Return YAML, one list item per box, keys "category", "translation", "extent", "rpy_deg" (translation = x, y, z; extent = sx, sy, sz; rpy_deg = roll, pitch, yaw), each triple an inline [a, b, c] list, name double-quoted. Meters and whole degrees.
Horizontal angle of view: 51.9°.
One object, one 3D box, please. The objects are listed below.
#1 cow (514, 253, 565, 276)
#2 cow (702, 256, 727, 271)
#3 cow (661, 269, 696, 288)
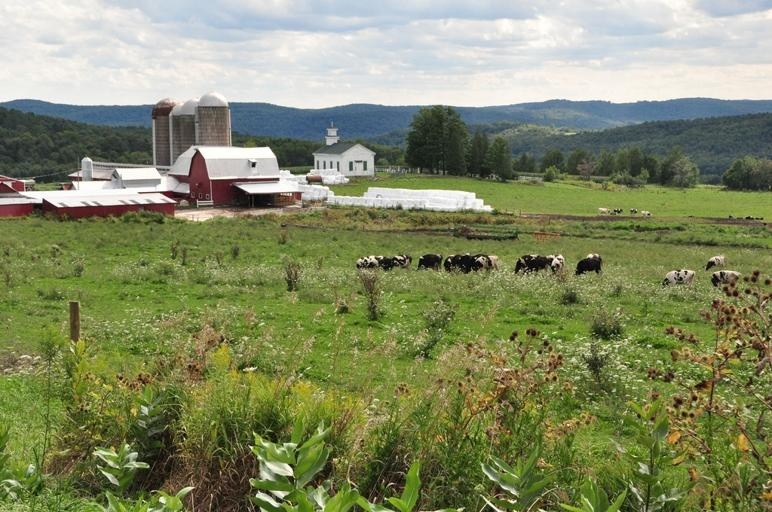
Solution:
- category: "cow"
  translation: [6.802, 0.387, 35.117]
  extent: [2.724, 1.394, 0.876]
  rpy_deg: [2, 3, -6]
- category: "cow"
  translation: [15.094, 0.354, 36.352]
  extent: [1.099, 0.564, 0.295]
  rpy_deg: [-15, 24, -24]
- category: "cow"
  translation: [11.629, 0.875, 31.472]
  extent: [1.152, 0.523, 1.290]
  rpy_deg: [4, 9, 18]
